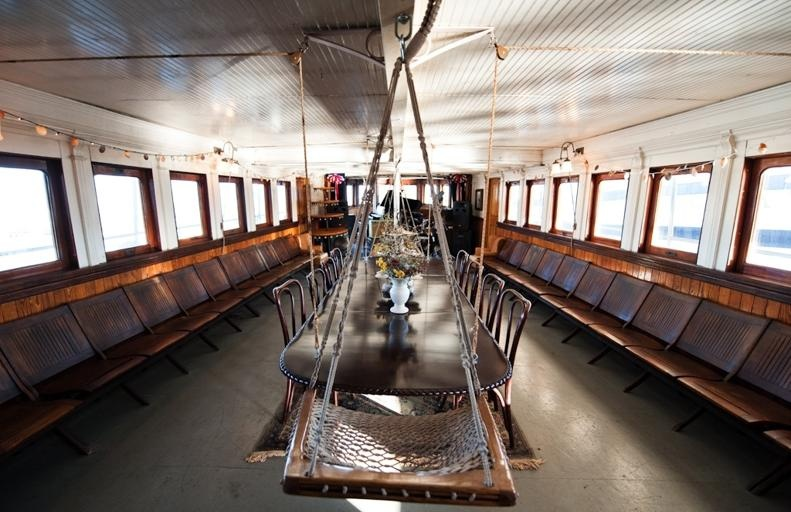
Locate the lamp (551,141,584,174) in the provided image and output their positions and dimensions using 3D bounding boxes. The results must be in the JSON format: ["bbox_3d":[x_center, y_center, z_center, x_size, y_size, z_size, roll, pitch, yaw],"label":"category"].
[{"bbox_3d":[3.173,-1.809,7.261,0.425,0.678,0.625,-4,11,-27],"label":"lamp"}]

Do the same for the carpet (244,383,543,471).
[{"bbox_3d":[-0.614,1.918,4.553,1.394,0.057,1.321,-7,10,-35],"label":"carpet"}]

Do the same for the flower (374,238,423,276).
[{"bbox_3d":[0.051,0.002,4.933,0.599,0.416,0.576,-2,23,1],"label":"flower"}]

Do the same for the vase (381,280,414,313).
[{"bbox_3d":[0.044,0.450,4.738,0.381,0.383,0.357,0,8,-1],"label":"vase"}]

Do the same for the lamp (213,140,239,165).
[{"bbox_3d":[-3.109,-1.901,7.274,0.398,0.361,1.256,-4,11,-20],"label":"lamp"}]
